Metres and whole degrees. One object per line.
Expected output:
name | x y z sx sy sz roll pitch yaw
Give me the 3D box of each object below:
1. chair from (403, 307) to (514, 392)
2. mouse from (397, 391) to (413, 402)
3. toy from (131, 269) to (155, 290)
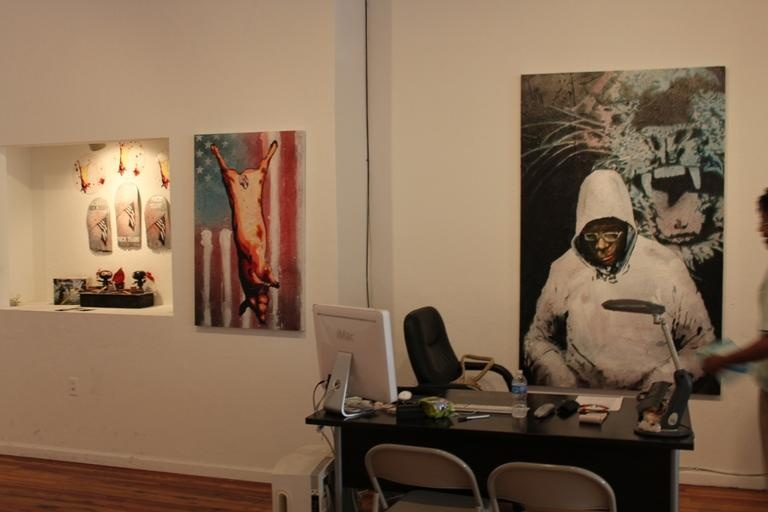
chair | 0.541 0.791 5.719 0.816 0.959 0.690 -6 8 28
mouse | 0.153 0.983 4.710 0.085 0.036 0.084 -7 14 -31
toy | -2.428 0.235 6.645 0.237 0.205 0.196 -2 1 5
